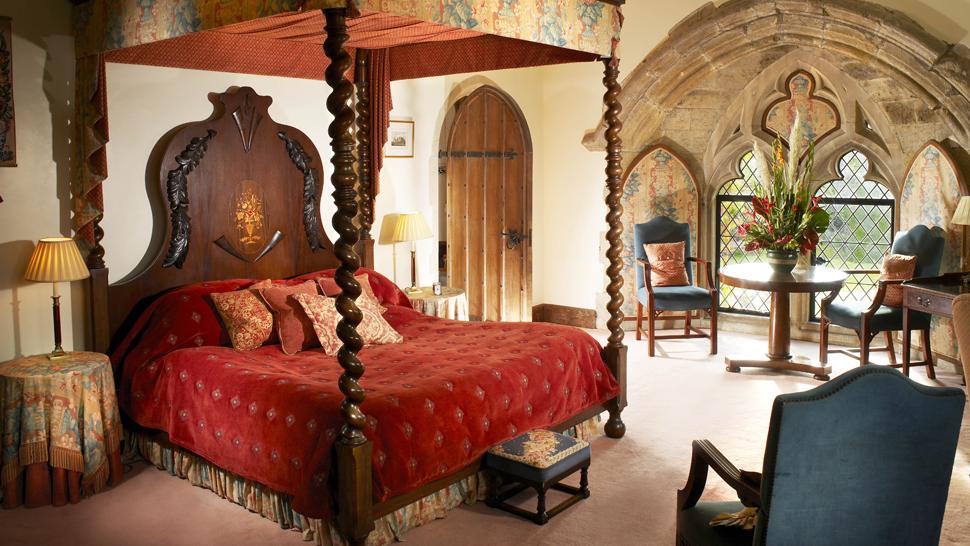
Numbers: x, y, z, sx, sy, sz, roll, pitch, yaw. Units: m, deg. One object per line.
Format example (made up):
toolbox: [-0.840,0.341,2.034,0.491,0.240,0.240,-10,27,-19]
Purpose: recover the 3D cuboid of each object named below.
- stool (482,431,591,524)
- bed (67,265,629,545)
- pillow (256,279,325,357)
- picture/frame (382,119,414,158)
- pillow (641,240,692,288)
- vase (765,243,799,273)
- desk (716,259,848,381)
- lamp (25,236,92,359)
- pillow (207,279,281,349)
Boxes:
stool: [0.478,1.767,6.079,0.689,0.491,0.853,4,4,41]
bed: [-1.624,1.179,6.238,3.054,1.221,3.111,1,4,38]
pillow: [-1.918,0.425,6.780,0.216,0.655,0.722,-32,-20,35]
picture/frame: [-1.131,-1.746,8.907,0.040,0.489,0.535,14,17,38]
pillow: [2.497,-0.112,9.487,0.651,0.594,0.227,-5,-11,-6]
vase: [3.651,-0.182,8.434,0.356,0.246,0.344,-3,5,-42]
desk: [3.590,0.554,8.741,1.592,1.183,1.470,0,8,14]
lamp: [-3.951,0.251,6.339,0.590,1.003,0.542,-1,-4,-19]
pillow: [-2.411,0.382,6.845,0.213,0.683,0.730,-17,18,23]
